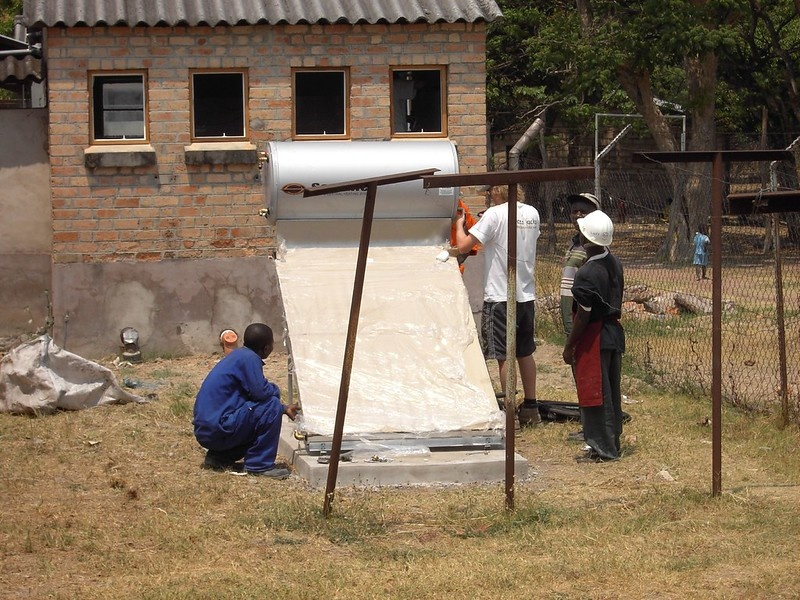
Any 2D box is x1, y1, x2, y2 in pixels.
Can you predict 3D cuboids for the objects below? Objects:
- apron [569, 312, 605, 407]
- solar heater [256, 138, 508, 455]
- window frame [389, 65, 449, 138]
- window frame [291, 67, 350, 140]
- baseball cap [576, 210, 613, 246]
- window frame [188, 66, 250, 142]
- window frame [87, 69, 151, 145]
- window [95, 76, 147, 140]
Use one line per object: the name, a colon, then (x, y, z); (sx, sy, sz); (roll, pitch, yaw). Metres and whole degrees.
apron: (1.978, 0.623, 14.625); (0.307, 0.998, 0.257); (9, -22, -10)
solar heater: (-0.192, -0.082, 15.604); (2.269, 3.638, 1.083); (-2, -34, -15)
window frame: (0.223, -2.624, 18.726); (0.952, 1.109, 0.065); (0, 2, -9)
window frame: (-1.083, -2.609, 18.636); (0.931, 1.081, 0.072); (-1, 3, -8)
baseball cap: (2.035, -0.720, 14.621); (0.345, 0.350, 0.294); (1, 9, 5)
window frame: (-2.419, -2.578, 18.519); (0.940, 1.140, 0.075); (-1, 4, -10)
window frame: (-3.702, -2.530, 18.395); (0.977, 1.147, 0.079); (0, 3, -9)
window: (-3.683, -2.525, 18.424); (0.810, 0.952, 0.065); (0, 2, -7)
